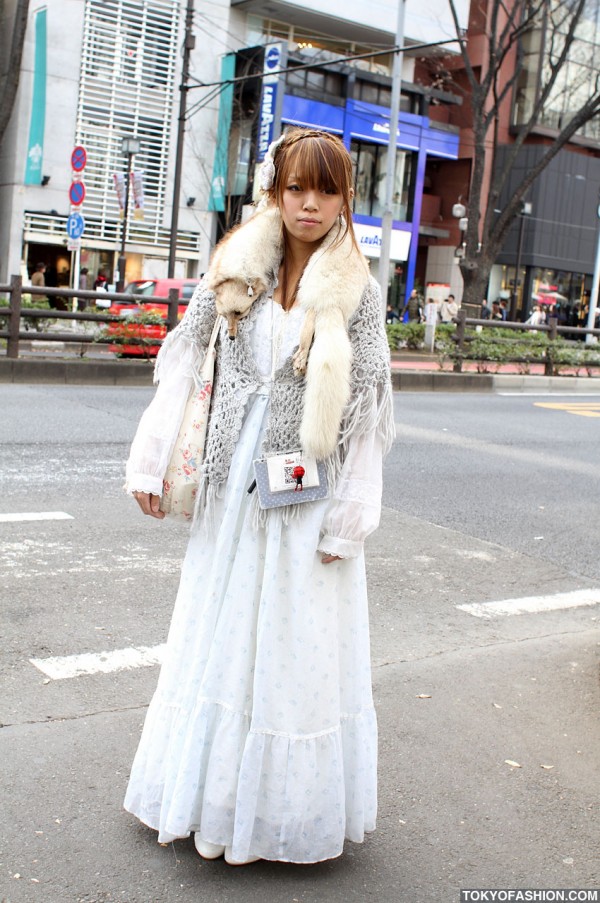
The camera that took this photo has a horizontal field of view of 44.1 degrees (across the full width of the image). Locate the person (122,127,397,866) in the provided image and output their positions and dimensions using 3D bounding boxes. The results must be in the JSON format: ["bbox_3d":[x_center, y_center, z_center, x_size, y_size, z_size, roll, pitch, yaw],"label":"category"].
[{"bbox_3d":[-0.091,0.094,1.683,0.608,1.647,0.412,7,4,23],"label":"person"}]

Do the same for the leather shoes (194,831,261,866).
[{"bbox_3d":[-0.176,0.869,1.659,0.164,0.065,0.054,-1,-2,26],"label":"leather shoes"}]
